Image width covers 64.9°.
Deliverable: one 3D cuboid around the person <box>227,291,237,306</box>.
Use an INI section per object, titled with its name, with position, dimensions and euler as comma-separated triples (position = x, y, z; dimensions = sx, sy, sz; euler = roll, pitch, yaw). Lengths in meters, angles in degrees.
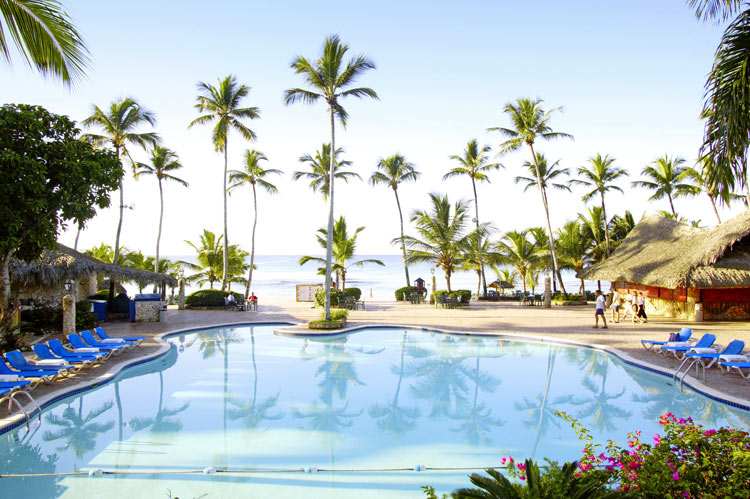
[person]
position = -8.639, 2.932, 35.446
dimensions = 0.557, 0.634, 1.237
euler = -3, 11, -9
